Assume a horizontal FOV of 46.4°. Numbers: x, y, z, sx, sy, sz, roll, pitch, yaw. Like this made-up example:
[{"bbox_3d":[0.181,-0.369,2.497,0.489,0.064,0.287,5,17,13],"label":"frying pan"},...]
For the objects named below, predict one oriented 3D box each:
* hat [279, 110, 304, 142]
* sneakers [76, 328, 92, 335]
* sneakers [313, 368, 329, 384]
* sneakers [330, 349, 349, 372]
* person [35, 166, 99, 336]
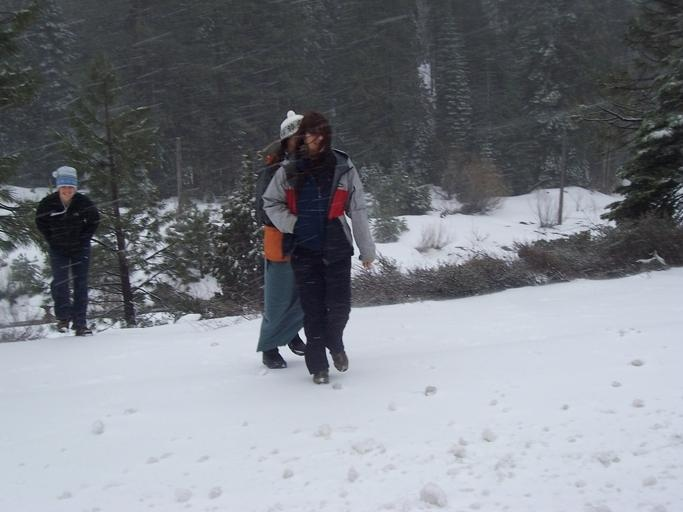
[{"bbox_3d":[-0.645,-1.692,10.270,0.373,0.250,0.421,-11,10,0],"label":"hat"},{"bbox_3d":[-3.697,1.091,11.492,0.104,0.099,0.295,8,-15,-44],"label":"sneakers"},{"bbox_3d":[-0.238,1.539,10.173,0.250,0.178,0.146,2,-1,32],"label":"sneakers"},{"bbox_3d":[0.062,1.353,10.310,0.223,0.253,0.289,-8,3,0],"label":"sneakers"},{"bbox_3d":[-3.928,-0.083,11.592,0.845,2.546,0.465,-7,1,-18],"label":"person"}]
